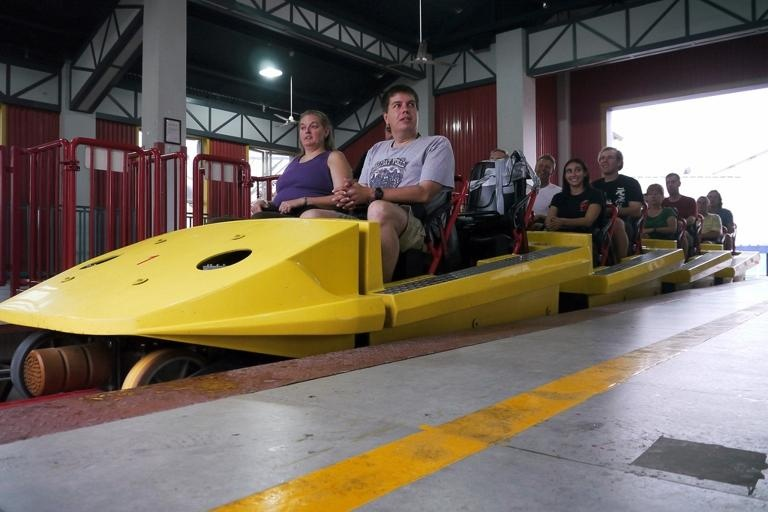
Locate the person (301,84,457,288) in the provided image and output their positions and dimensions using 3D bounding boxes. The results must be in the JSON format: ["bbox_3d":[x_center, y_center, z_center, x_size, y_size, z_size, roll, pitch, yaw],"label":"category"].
[{"bbox_3d":[-0.067,-0.371,3.675,0.851,1.527,0.996,-1,-1,45],"label":"person"}]

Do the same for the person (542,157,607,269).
[{"bbox_3d":[1.872,-0.454,5.467,0.543,0.983,0.900,3,11,17],"label":"person"}]

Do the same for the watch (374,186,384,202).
[{"bbox_3d":[-0.030,-0.376,3.344,0.052,0.074,0.068,4,-39,-6],"label":"watch"}]

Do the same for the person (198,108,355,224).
[{"bbox_3d":[-0.575,-0.611,3.938,0.737,0.837,0.756,-6,3,-32],"label":"person"}]
